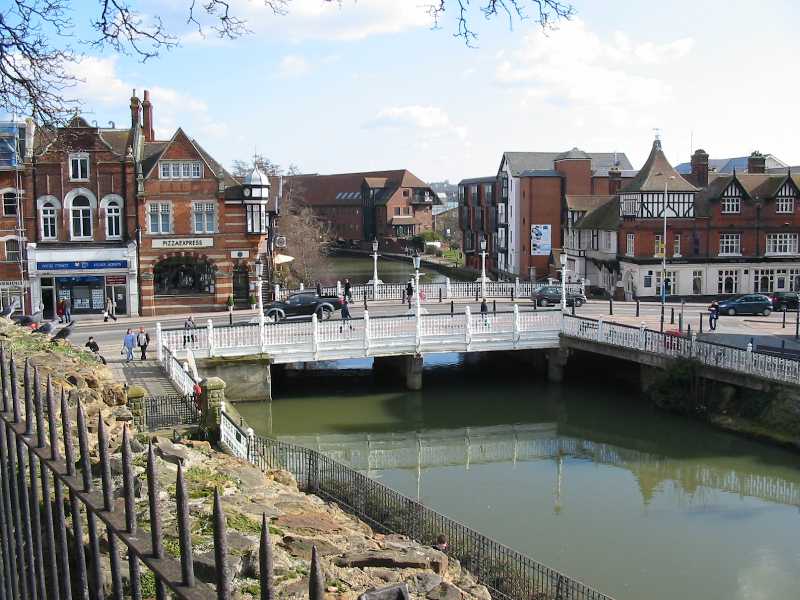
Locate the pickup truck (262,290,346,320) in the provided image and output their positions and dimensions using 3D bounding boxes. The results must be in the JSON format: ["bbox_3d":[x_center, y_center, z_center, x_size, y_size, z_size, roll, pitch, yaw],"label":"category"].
[{"bbox_3d":[-4.446,0.342,54.051,3.013,1.080,1.428,1,-1,-7],"label":"pickup truck"}]

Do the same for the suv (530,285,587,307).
[{"bbox_3d":[8.429,-0.133,61.016,2.687,1.040,1.255,-2,6,-2],"label":"suv"}]
